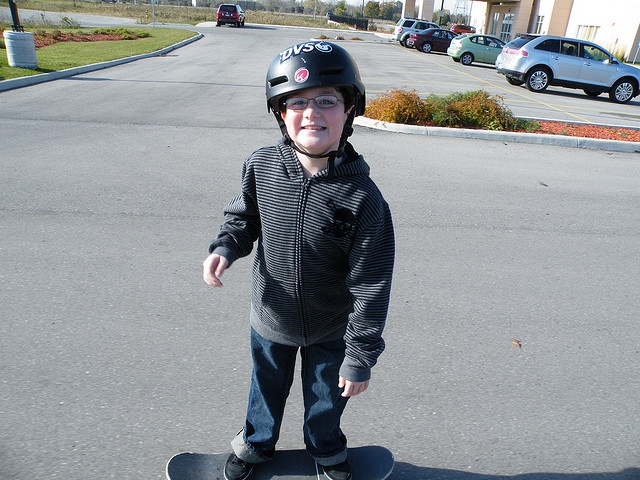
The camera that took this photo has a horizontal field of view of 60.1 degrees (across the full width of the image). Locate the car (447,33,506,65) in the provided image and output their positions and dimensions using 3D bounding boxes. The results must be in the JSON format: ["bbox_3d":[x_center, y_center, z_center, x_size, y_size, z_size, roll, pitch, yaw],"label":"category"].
[{"bbox_3d":[7.484,-9.354,27.220,3.289,0.923,1.566,-6,28,-9],"label":"car"}]

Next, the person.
[{"bbox_3d":[-0.165,0.191,3.138,0.965,2.544,1.024,2,28,-11],"label":"person"}]

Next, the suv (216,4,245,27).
[{"bbox_3d":[-6.924,-17.203,42.301,1.995,1.132,2.897,1,29,1],"label":"suv"}]

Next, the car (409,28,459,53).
[{"bbox_3d":[6.520,-11.845,32.887,3.452,0.831,1.172,-6,32,-6],"label":"car"}]

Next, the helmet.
[{"bbox_3d":[-0.002,-0.903,3.047,0.483,0.323,0.476,-3,33,10],"label":"helmet"}]
